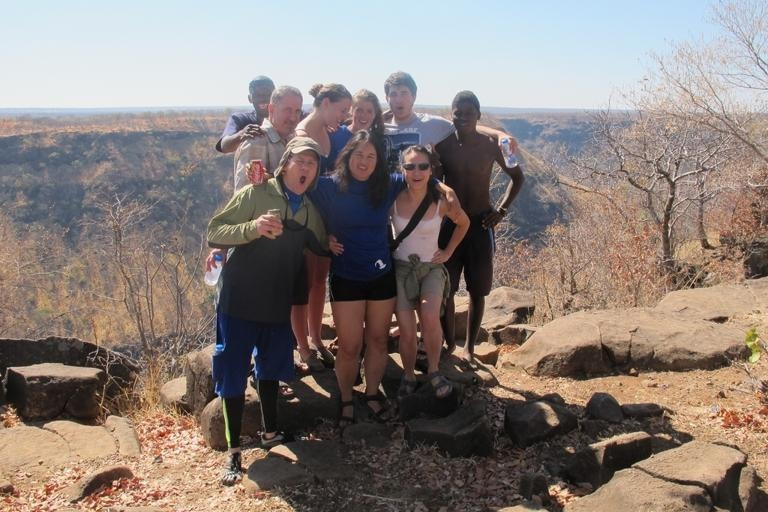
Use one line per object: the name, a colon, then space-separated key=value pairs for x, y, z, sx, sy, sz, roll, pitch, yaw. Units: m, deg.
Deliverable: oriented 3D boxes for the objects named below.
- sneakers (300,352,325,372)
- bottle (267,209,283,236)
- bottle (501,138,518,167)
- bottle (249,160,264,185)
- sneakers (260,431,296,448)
sneakers: x=-0.966 y=1.442 z=8.538 sx=0.188 sy=0.148 sz=0.359 roll=-29 pitch=48 yaw=-31
bottle: x=-1.288 y=-0.370 z=7.183 sx=0.233 sy=0.307 sz=0.171 roll=-3 pitch=9 yaw=-13
bottle: x=1.651 y=-1.371 z=8.356 sx=0.217 sy=0.404 sz=0.281 roll=1 pitch=8 yaw=12
bottle: x=-1.497 y=-0.986 z=7.437 sx=0.187 sy=0.282 sz=0.136 roll=-3 pitch=9 yaw=-11
sneakers: x=-1.326 y=2.280 z=7.786 sx=0.373 sy=0.159 sz=0.190 roll=-3 pitch=5 yaw=-15
